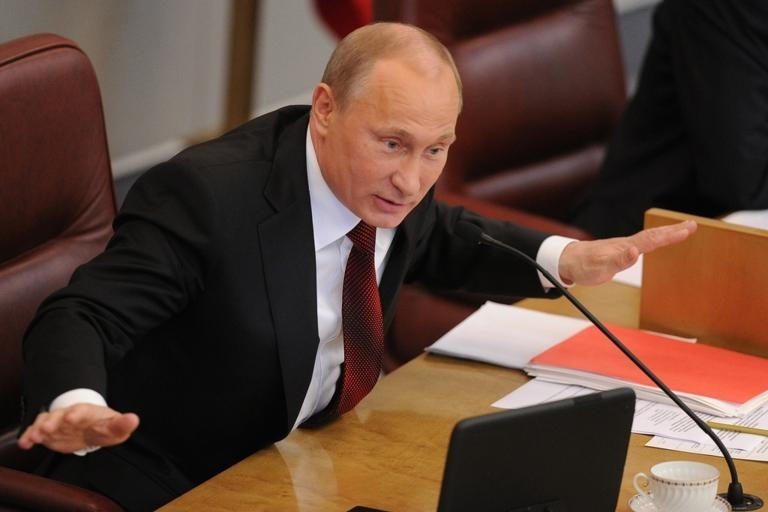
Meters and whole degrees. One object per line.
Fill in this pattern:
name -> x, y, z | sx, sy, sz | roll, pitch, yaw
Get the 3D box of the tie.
tie -> -0.041, 0.159, 1.504 | 0.098, 0.390, 0.279 | 3, 2, -39
